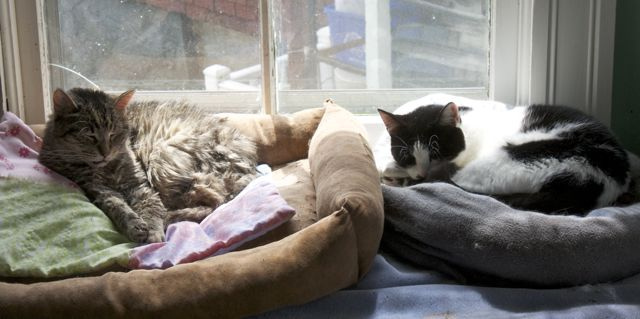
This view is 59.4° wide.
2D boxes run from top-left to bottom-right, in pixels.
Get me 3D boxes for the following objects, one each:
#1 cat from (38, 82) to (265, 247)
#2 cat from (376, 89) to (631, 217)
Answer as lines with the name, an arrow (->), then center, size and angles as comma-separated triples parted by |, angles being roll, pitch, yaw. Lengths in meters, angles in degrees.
cat -> -0.898, 0.033, 3.555 | 0.951, 0.461, 1.290 | 35, 25, 32
cat -> 1.107, -0.055, 3.453 | 1.262, 0.415, 0.815 | 1, 9, -3
